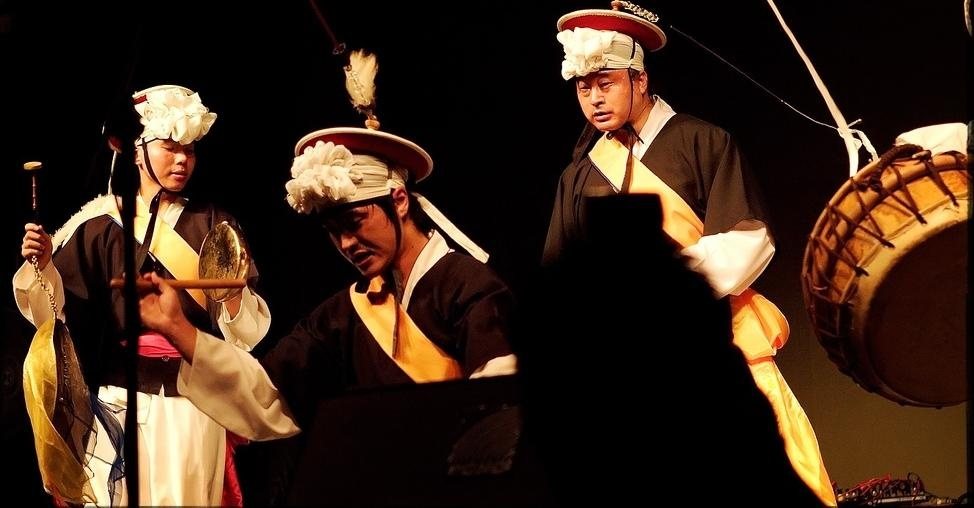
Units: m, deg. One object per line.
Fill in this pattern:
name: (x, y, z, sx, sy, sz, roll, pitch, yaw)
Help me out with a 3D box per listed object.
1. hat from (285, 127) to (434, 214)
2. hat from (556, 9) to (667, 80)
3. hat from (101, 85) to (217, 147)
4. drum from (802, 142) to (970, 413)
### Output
hat: (-0.789, -0.528, 6.813, 0.763, 0.257, 0.643, -1, -14, -22)
hat: (0.709, -1.255, 6.688, 0.568, 0.226, 0.487, -1, -8, -13)
hat: (-1.963, -0.847, 6.826, 0.567, 0.364, 0.176, -12, -10, -6)
drum: (2.205, 0.136, 6.534, 1.475, 1.221, 0.595, -2, 17, 2)
